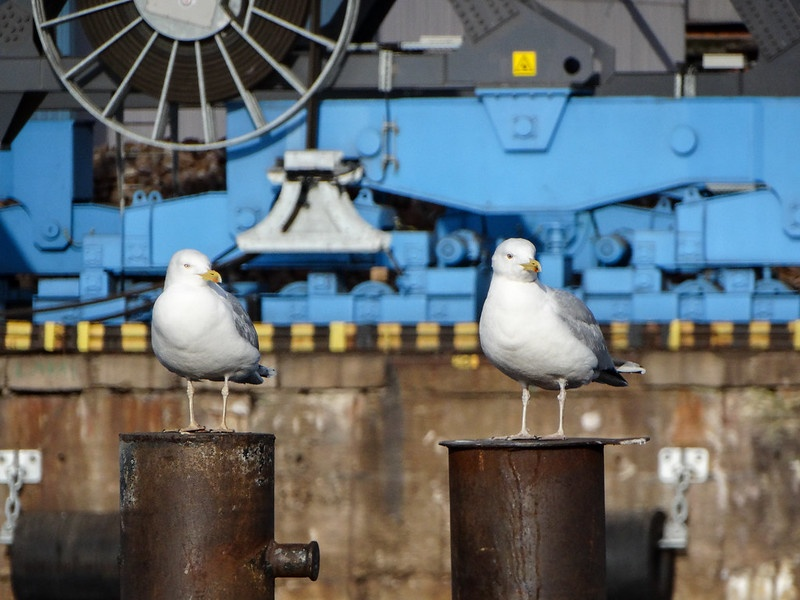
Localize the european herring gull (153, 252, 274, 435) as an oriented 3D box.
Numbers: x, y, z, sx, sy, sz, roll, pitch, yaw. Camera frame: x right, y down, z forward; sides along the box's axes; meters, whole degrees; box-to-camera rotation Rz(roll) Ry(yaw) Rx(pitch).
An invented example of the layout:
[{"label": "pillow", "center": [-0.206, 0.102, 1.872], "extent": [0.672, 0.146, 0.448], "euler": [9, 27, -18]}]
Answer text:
[{"label": "european herring gull", "center": [-2.212, 0.520, 30.258], "extent": [0.849, 2.146, 1.249], "euler": [-6, -8, 40]}]
